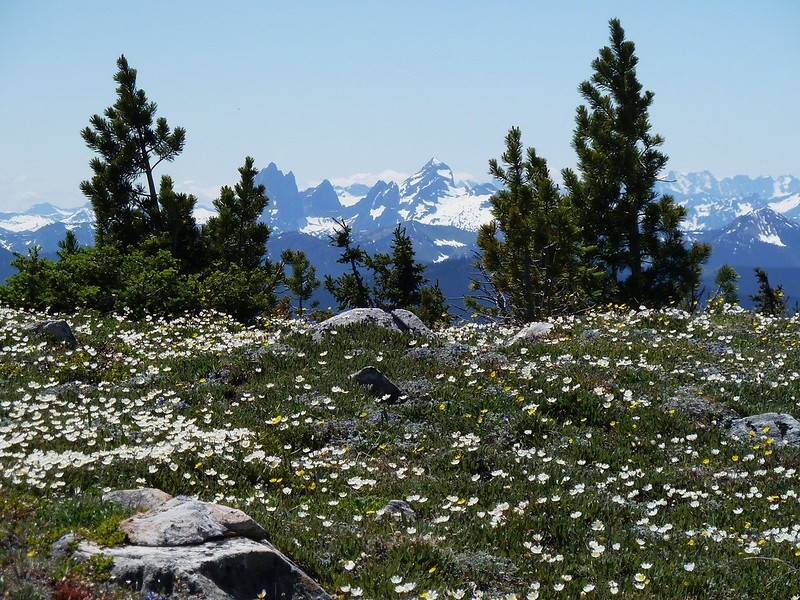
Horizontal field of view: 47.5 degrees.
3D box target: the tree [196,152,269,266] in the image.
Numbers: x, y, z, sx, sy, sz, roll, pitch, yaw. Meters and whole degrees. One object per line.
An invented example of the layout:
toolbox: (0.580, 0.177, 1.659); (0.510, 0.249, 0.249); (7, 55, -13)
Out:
tree: (-7.033, -3.656, 39.693); (1.874, 4.437, 3.373); (-7, -1, 32)
